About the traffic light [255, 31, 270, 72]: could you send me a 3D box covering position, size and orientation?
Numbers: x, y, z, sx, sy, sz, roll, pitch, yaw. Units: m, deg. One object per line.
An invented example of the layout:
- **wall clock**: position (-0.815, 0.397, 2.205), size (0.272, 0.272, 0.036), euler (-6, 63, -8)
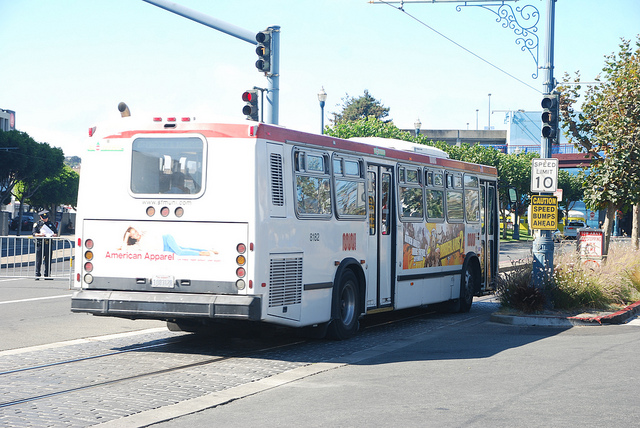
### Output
- **traffic light**: position (-1.567, -4.460, 19.010), size (0.404, 1.155, 0.292), euler (-1, 3, -19)

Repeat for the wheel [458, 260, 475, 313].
- **wheel**: position (3.888, 1.959, 18.793), size (0.435, 1.417, 1.379), euler (-1, -4, 26)

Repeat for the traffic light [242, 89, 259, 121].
- **traffic light**: position (-1.919, -2.962, 18.814), size (0.412, 0.811, 0.469), euler (0, 3, -7)

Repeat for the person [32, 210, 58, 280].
- **person**: position (-9.440, 1.063, 23.585), size (0.728, 2.356, 1.449), euler (-1, 3, -22)

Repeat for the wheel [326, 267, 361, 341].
- **wheel**: position (0.428, 1.801, 13.896), size (0.492, 1.645, 1.410), euler (1, 2, 18)

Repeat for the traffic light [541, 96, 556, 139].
- **traffic light**: position (5.739, -2.408, 17.323), size (0.377, 1.062, 0.331), euler (0, 3, 2)
